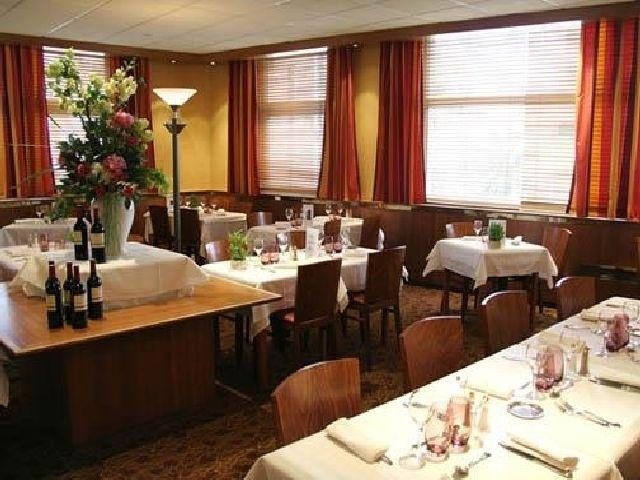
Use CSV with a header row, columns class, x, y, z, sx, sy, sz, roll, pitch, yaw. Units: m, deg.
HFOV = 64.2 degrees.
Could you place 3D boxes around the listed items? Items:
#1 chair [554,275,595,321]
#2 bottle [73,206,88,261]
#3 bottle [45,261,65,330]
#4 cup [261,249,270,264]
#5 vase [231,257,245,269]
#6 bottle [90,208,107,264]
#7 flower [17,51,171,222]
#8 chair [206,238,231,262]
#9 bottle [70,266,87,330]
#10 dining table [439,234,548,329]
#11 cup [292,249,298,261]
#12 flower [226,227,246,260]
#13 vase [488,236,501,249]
class,x,y,z,sx,sy,sz,roll,pitch,yaw
chair,1.885,0.412,3.775,0.271,0.541,0.329,0,0,19
bottle,-1.695,-0.016,3.598,0.093,0.321,0.256,-6,12,-28
bottle,-1.669,0.331,3.189,0.100,0.391,0.250,-6,12,-29
cup,-0.514,0.161,4.773,0.090,0.126,0.165,0,1,-4
vase,-0.753,0.215,4.716,0.090,0.072,0.092,3,2,40
bottle,-1.563,-0.039,3.570,0.097,0.387,0.206,-5,11,-24
flower,-1.552,-0.762,3.671,0.747,1.165,0.370,-4,11,-22
chair,-1.044,0.120,5.246,0.225,0.193,0.242,-6,2,6
bottle,-1.520,0.330,3.198,0.101,0.400,0.295,-5,12,-26
dining table,2.130,0.425,6.091,1.057,0.509,1.058,-4,9,-11
cup,-0.243,0.153,5.118,0.082,0.174,0.089,-1,-3,0
flower,-0.811,0.046,4.910,0.215,0.447,0.231,2,2,-2
vase,2.041,0.034,5.973,0.117,0.097,0.124,-2,5,-17
